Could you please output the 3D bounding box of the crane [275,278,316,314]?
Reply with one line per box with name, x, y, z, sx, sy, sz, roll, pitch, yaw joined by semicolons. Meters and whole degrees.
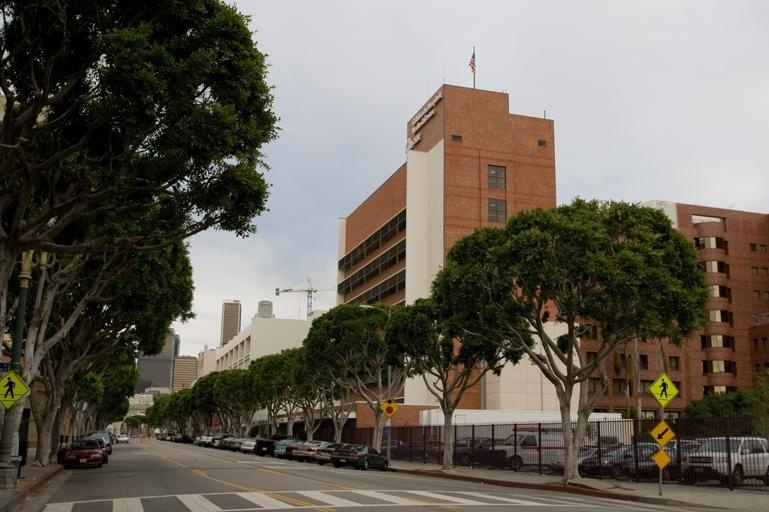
crane;-4.562;2.182;44.606;2.519;0.558;2.859;2;-40;1
